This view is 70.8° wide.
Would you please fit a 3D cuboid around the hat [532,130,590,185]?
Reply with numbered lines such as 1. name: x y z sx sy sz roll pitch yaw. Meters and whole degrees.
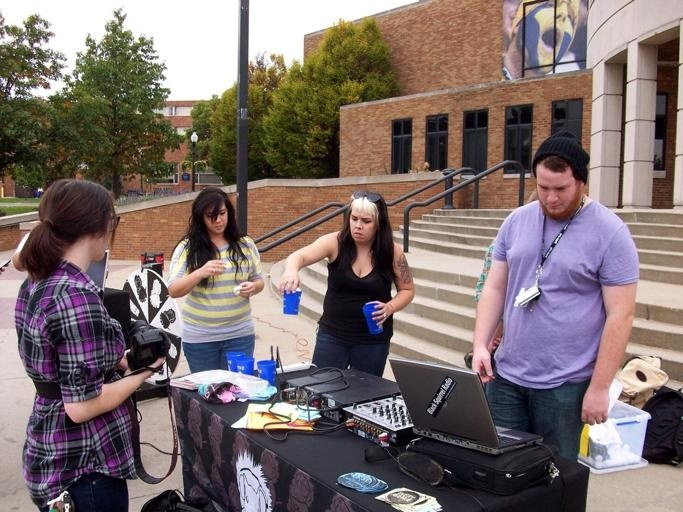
1. hat: 1.135 -0.492 2.465 0.268 0.266 0.229 -1 13 22

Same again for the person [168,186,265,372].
1. person: -1.056 0.247 3.967 0.707 1.557 0.682 0 9 -30

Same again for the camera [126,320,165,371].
1. camera: -0.898 0.405 2.225 0.194 0.210 0.166 3 6 -30

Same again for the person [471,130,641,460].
1. person: 1.159 0.269 2.752 0.863 1.940 0.928 7 8 1

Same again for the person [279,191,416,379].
1. person: 0.077 0.195 3.609 0.616 1.534 0.712 0 1 -24
